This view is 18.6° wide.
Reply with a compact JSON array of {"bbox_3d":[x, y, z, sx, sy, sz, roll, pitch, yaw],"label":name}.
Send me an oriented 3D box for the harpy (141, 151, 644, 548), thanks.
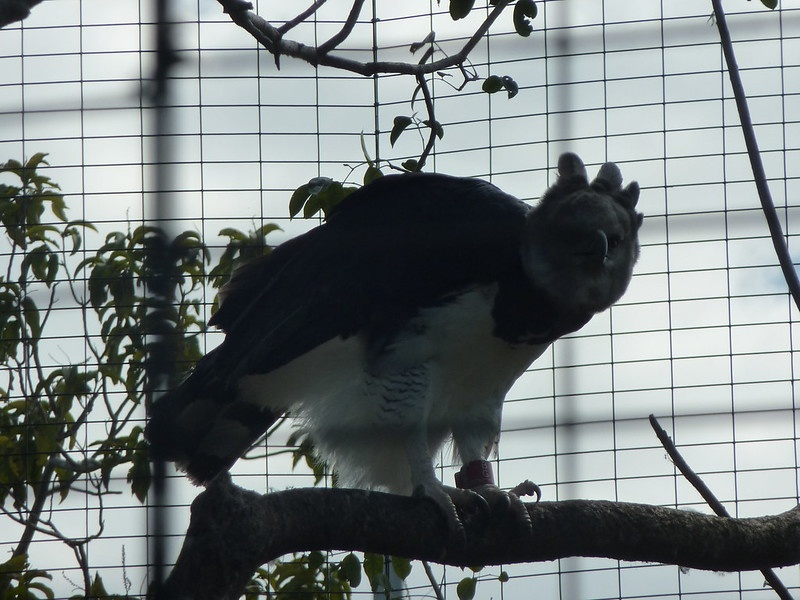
[{"bbox_3d":[-0.050,0.044,6.979,1.409,0.994,0.615,2,-6,21],"label":"harpy"}]
